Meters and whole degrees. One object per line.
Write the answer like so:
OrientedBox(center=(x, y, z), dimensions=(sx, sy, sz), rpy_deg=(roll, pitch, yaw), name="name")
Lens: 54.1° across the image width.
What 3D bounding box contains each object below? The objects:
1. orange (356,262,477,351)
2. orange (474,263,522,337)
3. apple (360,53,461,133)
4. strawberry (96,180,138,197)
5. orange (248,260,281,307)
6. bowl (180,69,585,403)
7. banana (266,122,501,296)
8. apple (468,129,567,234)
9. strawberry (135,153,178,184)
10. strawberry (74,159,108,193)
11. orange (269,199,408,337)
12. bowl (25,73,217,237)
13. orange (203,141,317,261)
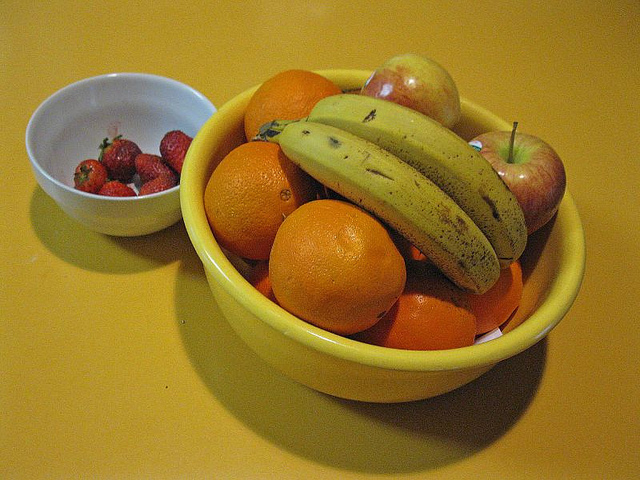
OrientedBox(center=(0.157, 0.114, 1.015), dimensions=(0.128, 0.148, 0.136), rpy_deg=(8, -3, 5), name="orange")
OrientedBox(center=(0.285, 0.101, 1.071), dimensions=(0.090, 0.135, 0.096), rpy_deg=(5, -6, -27), name="orange")
OrientedBox(center=(0.157, -0.233, 1.097), dimensions=(0.113, 0.168, 0.130), rpy_deg=(7, 5, -18), name="apple")
OrientedBox(center=(-0.371, -0.092, 1.146), dimensions=(0.034, 0.029, 0.046), rpy_deg=(5, 5, 5), name="strawberry")
OrientedBox(center=(-0.093, 0.064, 1.009), dimensions=(0.053, 0.081, 0.059), rpy_deg=(10, 3, 17), name="orange")
OrientedBox(center=(0.049, -0.161, 0.937), dimensions=(0.496, 0.239, 0.598), rpy_deg=(7, 48, -12), name="bowl")
OrientedBox(center=(0.091, -0.043, 0.922), dimensions=(0.299, 0.065, 0.092), rpy_deg=(38, 76, 6), name="banana")
OrientedBox(center=(0.314, -0.088, 1.096), dimensions=(0.147, 0.208, 0.166), rpy_deg=(4, 37, 10), name="apple")
OrientedBox(center=(-0.309, -0.137, 1.191), dimensions=(0.072, 0.048, 0.052), rpy_deg=(34, 43, 10), name="strawberry")
OrientedBox(center=(-0.432, -0.123, 1.171), dimensions=(0.064, 0.040, 0.073), rpy_deg=(8, 42, -12), name="strawberry")
OrientedBox(center=(0.038, 0.053, 0.983), dimensions=(0.182, 0.185, 0.171), rpy_deg=(34, 68, 26), name="orange")
OrientedBox(center=(-0.401, -0.181, 1.160), dimensions=(0.290, 0.156, 0.358), rpy_deg=(7, 58, -12), name="bowl")
OrientedBox(center=(-0.100, -0.064, 1.042), dimensions=(0.165, 0.158, 0.158), rpy_deg=(44, 5, -9), name="orange")
